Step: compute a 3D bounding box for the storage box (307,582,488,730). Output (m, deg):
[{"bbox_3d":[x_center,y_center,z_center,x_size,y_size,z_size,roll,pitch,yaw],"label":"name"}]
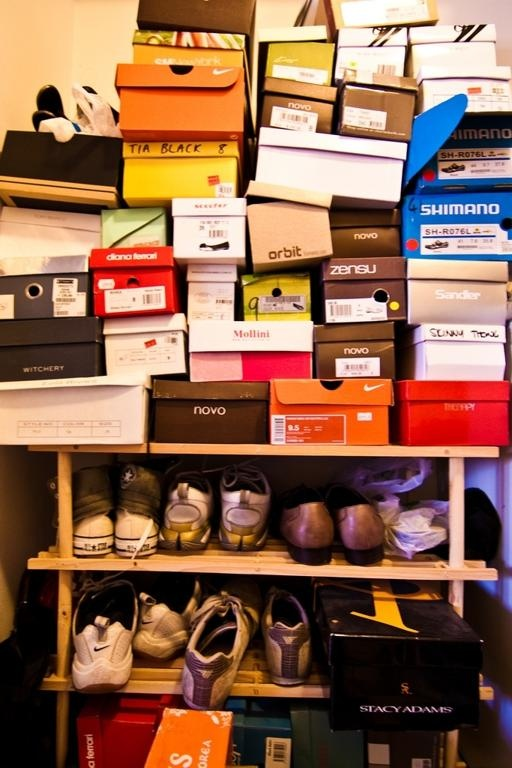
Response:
[{"bbox_3d":[0.250,0.490,1.157,0.270,0.195,0.249,-2,15,2],"label":"storage box"}]
